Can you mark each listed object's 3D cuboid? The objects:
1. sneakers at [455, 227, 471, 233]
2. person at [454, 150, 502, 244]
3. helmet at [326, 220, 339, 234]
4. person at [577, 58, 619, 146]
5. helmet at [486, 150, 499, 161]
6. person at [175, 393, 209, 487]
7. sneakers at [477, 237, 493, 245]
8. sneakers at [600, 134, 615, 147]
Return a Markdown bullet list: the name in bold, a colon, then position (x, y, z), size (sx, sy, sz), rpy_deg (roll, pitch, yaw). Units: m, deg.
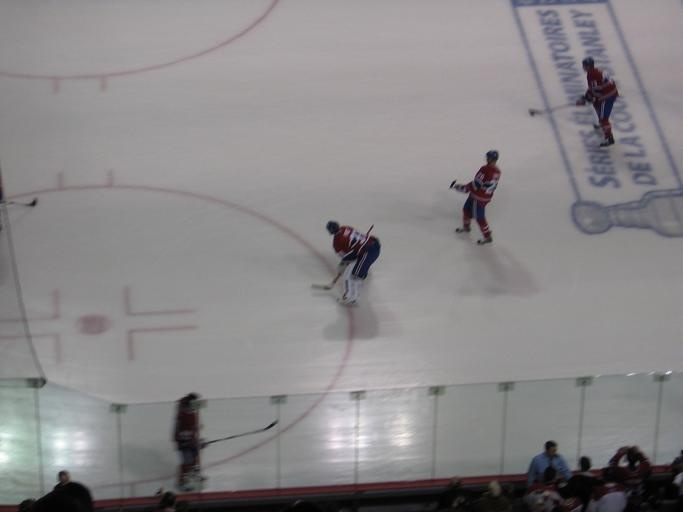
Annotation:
- **sneakers**: position (1.797, -0.385, 20.841), size (0.190, 0.070, 0.068), rpy_deg (1, -47, -2)
- **person**: position (1.996, -0.817, 20.586), size (0.651, 1.168, 0.905), rpy_deg (-3, -17, 4)
- **helmet**: position (-0.079, -0.404, 19.684), size (0.165, 0.251, 0.284), rpy_deg (-2, -16, -1)
- **person**: position (3.952, -2.339, 21.877), size (0.594, 1.261, 1.063), rpy_deg (-5, -17, 10)
- **helmet**: position (2.214, -1.422, 20.433), size (0.204, 0.137, 0.151), rpy_deg (-12, 20, -33)
- **person**: position (-1.857, 2.273, 17.973), size (0.387, 1.068, 1.242), rpy_deg (4, -6, -6)
- **sneakers**: position (2.105, -0.219, 20.692), size (0.260, 0.069, 0.100), rpy_deg (-1, -24, 16)
- **sneakers**: position (4.117, -1.752, 21.970), size (0.201, 0.093, 0.184), rpy_deg (24, -20, 49)
